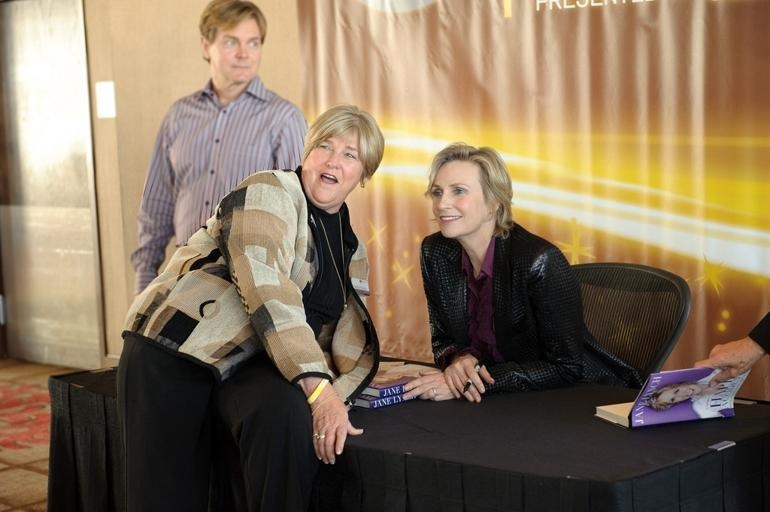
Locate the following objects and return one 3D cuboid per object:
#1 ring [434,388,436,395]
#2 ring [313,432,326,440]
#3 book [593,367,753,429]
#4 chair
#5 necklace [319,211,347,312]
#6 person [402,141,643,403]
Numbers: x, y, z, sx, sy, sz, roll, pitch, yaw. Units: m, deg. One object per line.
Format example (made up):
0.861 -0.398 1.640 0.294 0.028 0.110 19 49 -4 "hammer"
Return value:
0.185 0.511 2.316 0.003 0.014 0.014 3 15 -21 "ring"
-0.211 0.578 1.991 0.030 0.029 0.011 0 -8 18 "ring"
0.960 0.468 2.028 0.297 0.134 0.252 0 2 -20 "book"
1.159 0.346 3.000 0.545 0.703 0.541 7 13 21 "chair"
-0.189 0.046 2.466 0.095 0.355 0.025 -1 26 22 "necklace"
0.508 0.050 2.737 1.067 1.064 0.767 -7 9 -34 "person"
